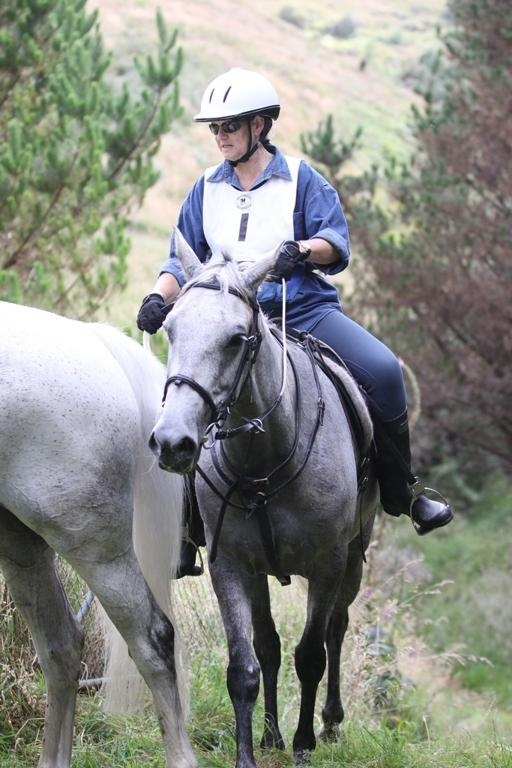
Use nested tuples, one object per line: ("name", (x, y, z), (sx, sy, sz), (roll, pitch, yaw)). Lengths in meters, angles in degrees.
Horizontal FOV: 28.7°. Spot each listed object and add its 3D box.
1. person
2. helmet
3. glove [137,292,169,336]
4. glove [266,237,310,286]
("person", (0.158, -0.313, 4.829), (1.446, 2.280, 1.084), (-5, 11, 4))
("helmet", (-0.100, -1.350, 4.640), (0.437, 0.208, 0.274), (-6, 33, -13))
("glove", (-0.437, -0.291, 4.218), (0.079, 0.134, 0.170), (-5, 53, 29))
("glove", (0.137, -0.497, 4.065), (0.150, 0.088, 0.222), (10, 52, 26))
